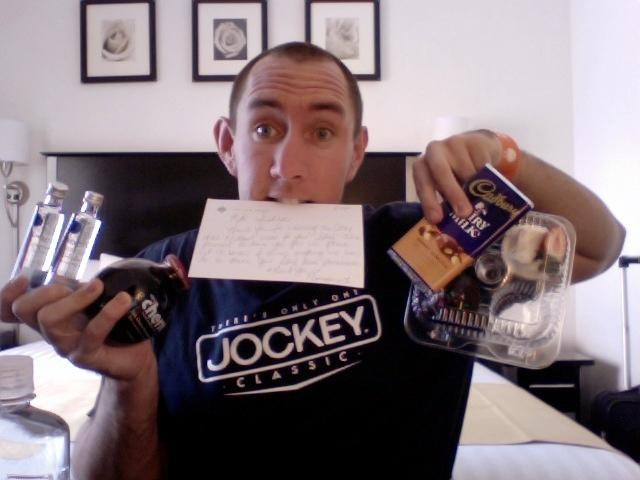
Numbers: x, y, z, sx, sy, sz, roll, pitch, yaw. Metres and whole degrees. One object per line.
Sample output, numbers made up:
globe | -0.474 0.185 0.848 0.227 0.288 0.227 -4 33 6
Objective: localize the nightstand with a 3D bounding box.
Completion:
nightstand | 1.167 0.724 2.981 0.488 0.531 0.380 0 -9 4

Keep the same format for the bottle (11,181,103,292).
bottle | -0.717 0.000 1.530 0.179 0.346 0.089 12 5 -11

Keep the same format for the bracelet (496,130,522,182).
bracelet | 0.548 -0.249 1.598 0.076 0.126 0.033 -2 8 -16
